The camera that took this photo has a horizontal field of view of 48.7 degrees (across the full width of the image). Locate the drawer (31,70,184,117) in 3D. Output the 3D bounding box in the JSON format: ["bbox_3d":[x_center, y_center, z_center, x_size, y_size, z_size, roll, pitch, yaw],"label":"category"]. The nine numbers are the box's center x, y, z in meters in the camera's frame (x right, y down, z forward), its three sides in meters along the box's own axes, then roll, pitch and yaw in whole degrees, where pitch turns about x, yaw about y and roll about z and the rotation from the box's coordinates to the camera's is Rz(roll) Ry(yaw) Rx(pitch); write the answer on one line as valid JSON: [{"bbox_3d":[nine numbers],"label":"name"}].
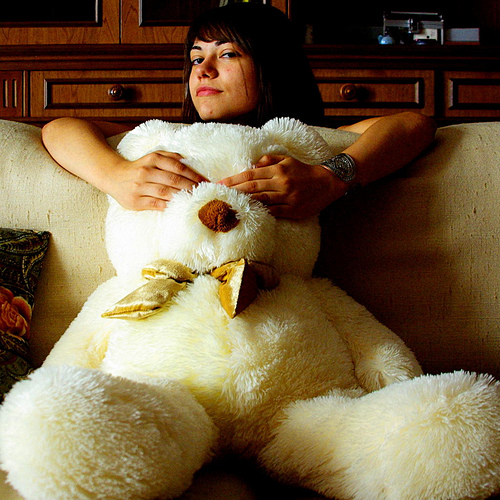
[{"bbox_3d":[-0.558,-0.580,2.017,0.577,0.210,0.151,3,13,9],"label":"drawer"}]

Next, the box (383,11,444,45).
[{"bbox_3d":[0.642,-0.856,2.160,0.236,0.122,0.146,5,20,10],"label":"box"}]

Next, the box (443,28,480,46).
[{"bbox_3d":[0.807,-0.817,2.121,0.131,0.062,0.040,1,14,6],"label":"box"}]

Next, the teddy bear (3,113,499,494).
[{"bbox_3d":[0.056,0.013,0.842,0.694,0.531,0.496,1,-14,-13],"label":"teddy bear"}]

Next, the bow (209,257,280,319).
[{"bbox_3d":[-0.007,0.044,0.657,0.076,0.066,0.027,1,5,-35],"label":"bow"}]
